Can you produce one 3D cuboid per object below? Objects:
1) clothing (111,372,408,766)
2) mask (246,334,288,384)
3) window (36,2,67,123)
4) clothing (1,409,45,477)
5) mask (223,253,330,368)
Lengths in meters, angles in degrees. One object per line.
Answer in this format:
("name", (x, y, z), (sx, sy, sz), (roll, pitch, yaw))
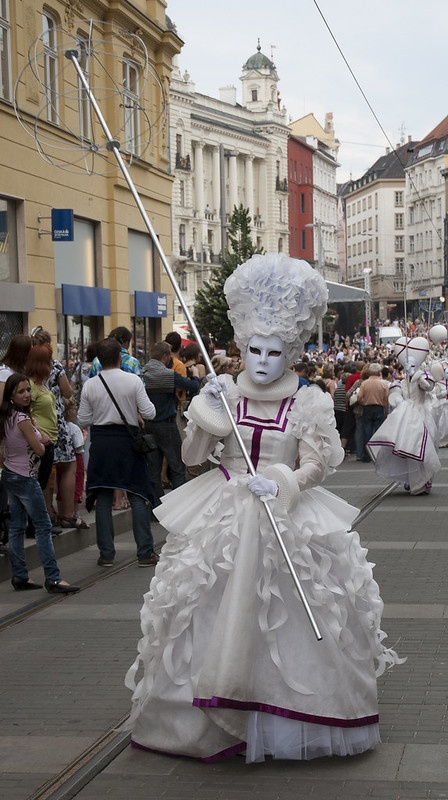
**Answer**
("clothing", (0.130, 0.679, 3.496), (1.328, 1.884, 1.238), (0, -13, 2))
("mask", (0.170, -0.179, 3.372), (0.166, 0.215, 0.129), (9, 11, 4))
("window", (-2.084, -3.971, 9.765), (0.277, 1.340, 0.063), (26, 33, 32))
("clothing", (-1.505, 0.328, 6.146), (0.312, 0.490, 0.294), (-1, -2, -14))
("mask", (0.181, -0.375, 3.512), (0.456, 0.481, 0.438), (-1, 8, -4))
